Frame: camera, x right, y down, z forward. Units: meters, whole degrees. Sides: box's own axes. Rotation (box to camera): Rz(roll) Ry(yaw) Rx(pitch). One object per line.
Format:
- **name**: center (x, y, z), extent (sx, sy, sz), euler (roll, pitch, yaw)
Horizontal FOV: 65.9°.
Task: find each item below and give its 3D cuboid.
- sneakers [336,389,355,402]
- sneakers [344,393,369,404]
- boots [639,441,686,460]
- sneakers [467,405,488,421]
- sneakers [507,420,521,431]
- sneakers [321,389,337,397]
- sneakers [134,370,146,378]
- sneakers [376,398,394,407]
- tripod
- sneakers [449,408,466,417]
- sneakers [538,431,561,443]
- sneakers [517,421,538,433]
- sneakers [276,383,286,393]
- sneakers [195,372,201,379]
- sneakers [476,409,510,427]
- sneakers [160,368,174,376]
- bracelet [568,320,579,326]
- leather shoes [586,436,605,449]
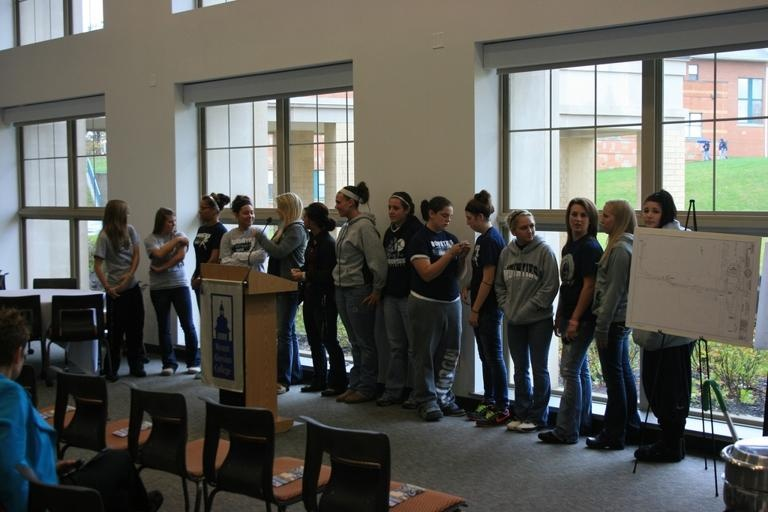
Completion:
- **sneakers**: center (-0.382, 1.405, 5.969), extent (0.086, 0.076, 0.184), euler (-2, -7, 38)
- **sneakers**: center (-0.272, 1.421, 5.961), extent (0.178, 0.068, 0.089), euler (4, -6, -23)
- **boots**: center (2.164, 1.532, 4.622), extent (0.274, 0.115, 0.161), euler (2, -3, 3)
- **sneakers**: center (0.886, 1.446, 5.498), extent (0.258, 0.117, 0.086), euler (1, -2, -44)
- **sneakers**: center (1.165, 1.504, 5.282), extent (0.131, 0.059, 0.057), euler (-1, -1, -35)
- **sneakers**: center (-0.564, 1.416, 6.181), extent (0.145, 0.060, 0.071), euler (5, -4, -19)
- **sneakers**: center (-2.863, 1.362, 6.959), extent (0.062, 0.070, 0.160), euler (2, 6, 8)
- **sneakers**: center (0.018, 1.440, 5.864), extent (0.190, 0.084, 0.069), euler (7, -8, -31)
- **tripod**: center (2.396, 0.566, 4.698), extent (0.692, 2.264, 0.545), euler (-12, 11, 2)
- **sneakers**: center (0.706, 1.480, 5.633), extent (0.153, 0.069, 0.068), euler (-3, -3, 12)
- **sneakers**: center (1.389, 1.519, 4.961), extent (0.188, 0.081, 0.071), euler (5, 3, 29)
- **sneakers**: center (1.269, 1.498, 5.211), extent (0.194, 0.082, 0.073), euler (1, -2, -5)
- **sneakers**: center (-1.082, 1.385, 6.232), extent (0.080, 0.092, 0.217), euler (1, 4, 8)
- **sneakers**: center (-2.160, 1.376, 6.835), extent (0.072, 0.042, 0.201), euler (-2, 3, -15)
- **sneakers**: center (0.999, 1.459, 5.393), extent (0.327, 0.157, 0.120), euler (0, -3, -11)
- **sneakers**: center (-2.530, 1.345, 6.937), extent (0.069, 0.068, 0.155), euler (3, 7, -6)
- **bracelet**: center (1.558, 0.541, 4.849), extent (0.046, 0.036, 0.046), euler (5, 7, 42)
- **leather shoes**: center (1.736, 1.530, 4.871), extent (0.184, 0.086, 0.061), euler (-5, 6, -38)
